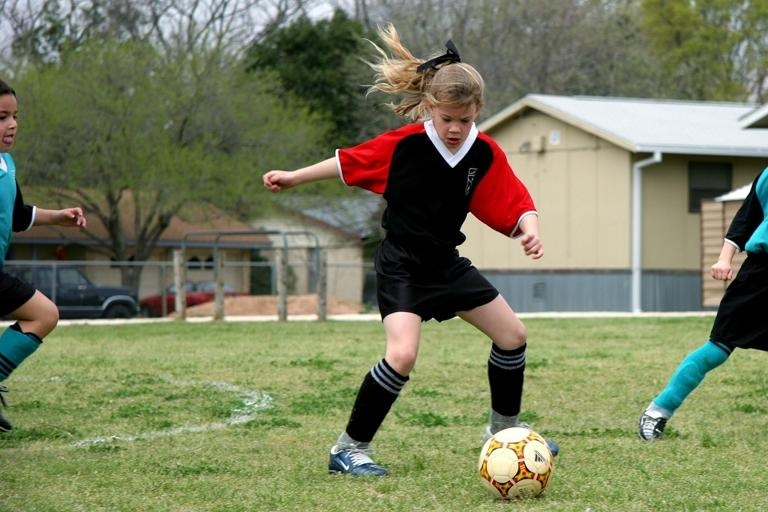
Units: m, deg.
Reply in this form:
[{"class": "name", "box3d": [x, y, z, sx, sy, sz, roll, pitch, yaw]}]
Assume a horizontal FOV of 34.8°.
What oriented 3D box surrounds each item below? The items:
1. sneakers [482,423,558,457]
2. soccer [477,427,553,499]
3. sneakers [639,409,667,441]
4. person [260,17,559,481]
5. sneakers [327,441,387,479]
[{"class": "sneakers", "box3d": [0.770, 1.031, 6.911, 0.387, 0.135, 0.194, -1, -3, 19]}, {"class": "soccer", "box3d": [0.709, 1.076, 6.504, 0.381, 0.359, 0.344, -9, -45, 17]}, {"class": "sneakers", "box3d": [1.561, 0.987, 7.145, 0.104, 0.086, 0.230, -40, 19, 11]}, {"class": "person", "box3d": [0.233, 0.063, 6.779, 1.247, 2.222, 0.385, -1, -1, -1]}, {"class": "sneakers", "box3d": [-0.158, 1.120, 6.696, 0.188, 0.153, 0.445, -3, 4, -33]}]
